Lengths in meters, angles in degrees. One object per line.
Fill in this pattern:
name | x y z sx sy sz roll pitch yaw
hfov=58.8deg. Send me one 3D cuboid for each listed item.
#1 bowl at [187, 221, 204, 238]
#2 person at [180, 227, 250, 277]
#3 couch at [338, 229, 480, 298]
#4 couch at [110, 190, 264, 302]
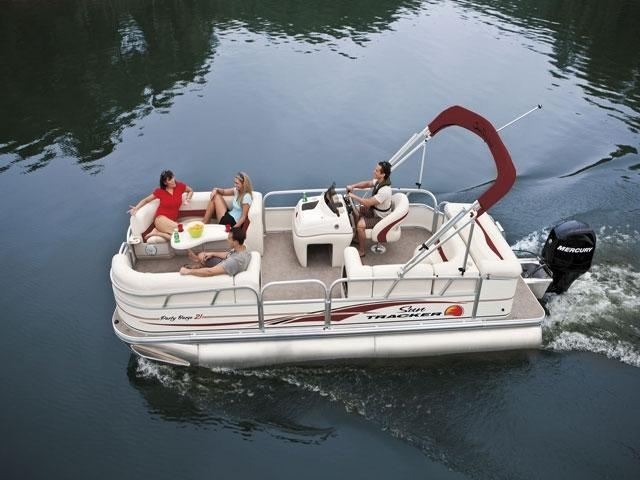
bowl | -2.193 -0.198 10.072 0.279 0.158 0.264 4 38 -3
person | -1.659 0.201 9.554 1.143 0.765 0.724 5 34 1
couch | 1.544 0.500 9.883 2.220 0.674 1.055 0 45 -5
couch | -2.288 0.380 9.814 2.251 0.901 2.258 -2 40 -2
